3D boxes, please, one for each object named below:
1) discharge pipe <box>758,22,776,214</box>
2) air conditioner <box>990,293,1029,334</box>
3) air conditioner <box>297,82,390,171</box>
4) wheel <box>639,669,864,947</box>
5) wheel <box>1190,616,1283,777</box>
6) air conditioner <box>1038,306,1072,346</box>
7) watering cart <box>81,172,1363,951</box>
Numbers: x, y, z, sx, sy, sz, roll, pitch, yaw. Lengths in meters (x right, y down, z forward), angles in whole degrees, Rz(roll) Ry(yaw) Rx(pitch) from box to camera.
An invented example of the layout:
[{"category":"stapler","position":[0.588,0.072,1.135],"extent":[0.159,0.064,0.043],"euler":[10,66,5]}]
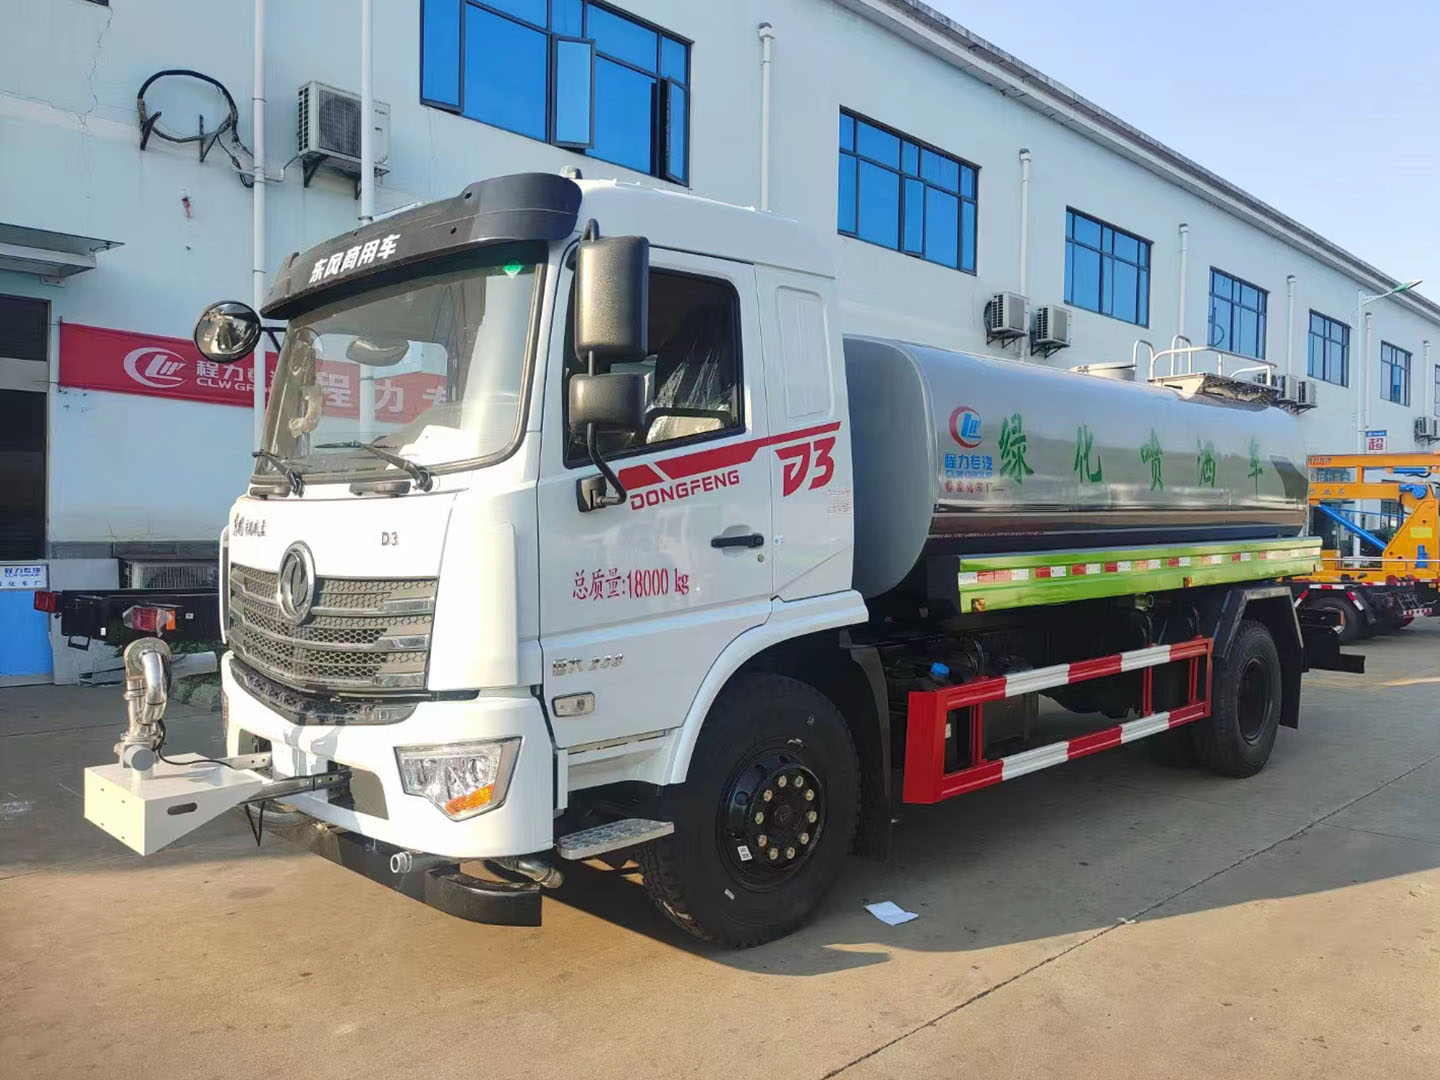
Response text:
[{"category":"discharge pipe","position":[0.647,-6.053,15.787],"extent":[0.223,2.380,0.399],"euler":[-2,3,3]},{"category":"air conditioner","position":[5.013,-3.918,19.252],"extent":[0.700,0.646,0.422],"euler":[0,5,-35]},{"category":"air conditioner","position":[-4.066,-4.352,11.744],"extent":[0.416,0.900,0.964],"euler":[-6,-8,42]},{"category":"wheel","position":[0.191,1.369,5.699],"extent":[1.299,1.366,0.521],"euler":[-8,8,-38]},{"category":"wheel","position":[4.082,1.253,8.794],"extent":[1.246,1.310,0.409],"euler":[0,2,-44]},{"category":"air conditioner","position":[5.966,-3.802,19.763],"extent":[0.345,0.600,0.678],"euler":[-4,-6,35]},{"category":"watering cart","position":[0.809,0.161,7.913],"extent":[8.852,3.682,3.269],"euler":[1,-2,-43]}]
